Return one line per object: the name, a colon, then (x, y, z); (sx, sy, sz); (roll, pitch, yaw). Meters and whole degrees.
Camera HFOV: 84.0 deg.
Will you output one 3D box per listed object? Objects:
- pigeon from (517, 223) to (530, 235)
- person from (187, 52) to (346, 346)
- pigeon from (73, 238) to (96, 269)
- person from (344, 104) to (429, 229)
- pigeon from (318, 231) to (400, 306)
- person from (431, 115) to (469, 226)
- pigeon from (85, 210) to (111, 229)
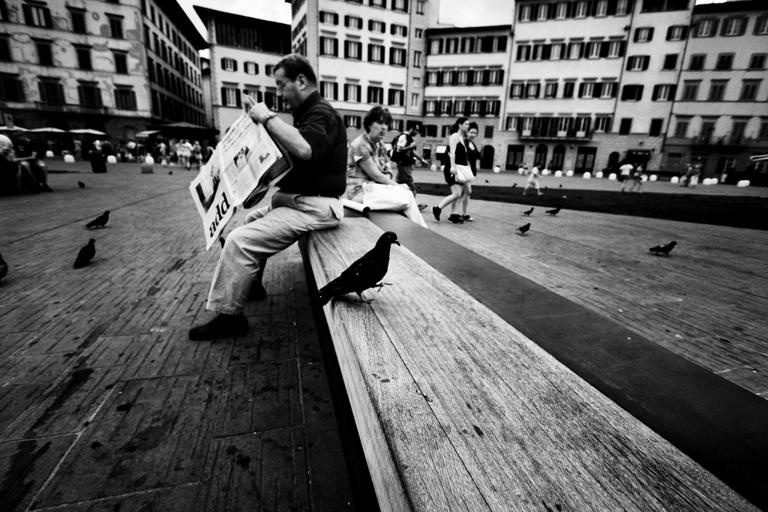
pigeon: (2.238, -0.425, 6.800); (0.340, 0.223, 0.185); (6, 9, 26)
person: (-0.859, -0.507, 3.330); (1.243, 1.099, 2.434); (-9, 40, 5)
pigeon: (-3.275, -0.031, 4.708); (0.163, 0.273, 0.329); (3, 16, -5)
person: (-0.053, -1.182, 5.408); (0.798, 1.331, 1.318); (-2, 18, -19)
pigeon: (-0.150, 0.073, 2.577); (0.550, 0.381, 0.254); (-4, 11, 11)
person: (1.140, -1.489, 7.574); (0.880, 1.689, 0.575); (0, 2, -1)
pigeon: (-4.158, -0.528, 6.189); (0.275, 0.313, 0.627); (-9, 20, -36)
